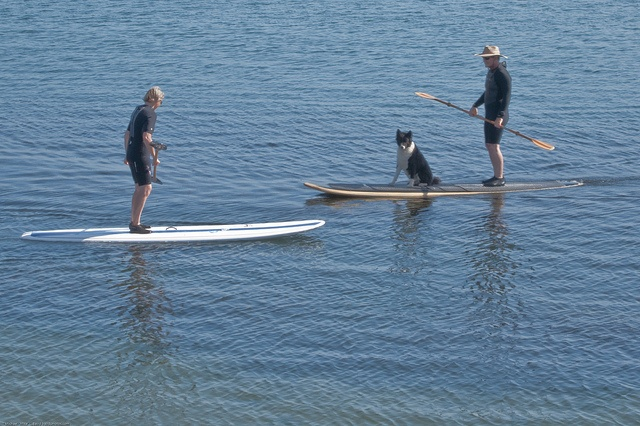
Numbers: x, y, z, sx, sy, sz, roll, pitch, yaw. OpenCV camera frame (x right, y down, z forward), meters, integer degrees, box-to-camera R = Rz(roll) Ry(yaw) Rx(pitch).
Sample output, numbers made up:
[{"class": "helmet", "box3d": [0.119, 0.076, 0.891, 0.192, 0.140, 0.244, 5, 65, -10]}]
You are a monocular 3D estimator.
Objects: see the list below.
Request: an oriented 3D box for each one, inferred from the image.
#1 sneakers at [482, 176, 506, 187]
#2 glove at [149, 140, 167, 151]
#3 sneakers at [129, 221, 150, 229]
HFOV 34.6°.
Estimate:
[{"class": "sneakers", "box3d": [4.467, -0.795, 26.223, 0.583, 0.130, 0.242, 2, 6, 1]}, {"class": "glove", "box3d": [-3.518, -1.489, 22.678, 0.391, 0.089, 0.203, 11, 9, -30]}, {"class": "sneakers", "box3d": [-4.069, 0.297, 23.612, 0.587, 0.136, 0.151, -2, 12, -23]}]
